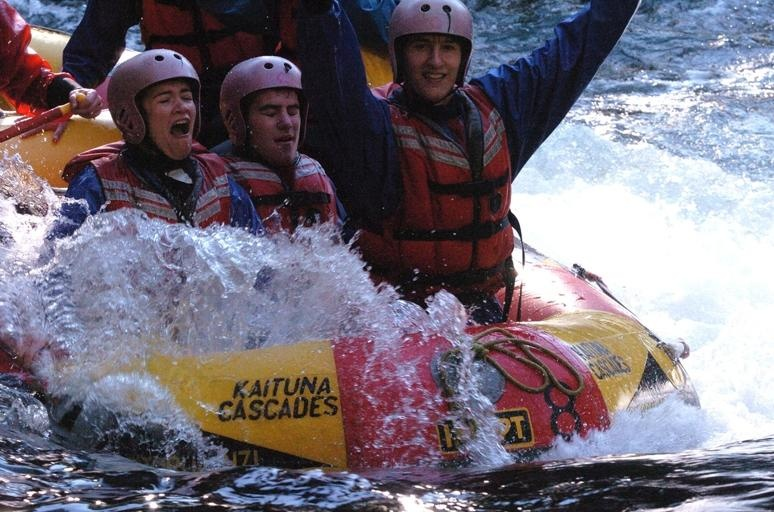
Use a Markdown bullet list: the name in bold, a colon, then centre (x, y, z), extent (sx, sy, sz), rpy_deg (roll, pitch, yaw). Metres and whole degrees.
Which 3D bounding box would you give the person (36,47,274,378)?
- **person**: centre (-1.319, -0.528, 5.863), extent (1.443, 1.190, 0.722), rpy_deg (-3, 1, -42)

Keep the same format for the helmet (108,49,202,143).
- **helmet**: centre (-1.372, -0.883, 5.804), extent (0.573, 0.445, 0.456), rpy_deg (-15, -6, 31)

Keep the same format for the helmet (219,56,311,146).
- **helmet**: centre (-0.770, -0.934, 6.117), extent (0.472, 0.445, 0.534), rpy_deg (-4, 1, -36)

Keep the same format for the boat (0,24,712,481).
- **boat**: centre (0.368, 0.170, 5.049), extent (3.109, 0.601, 2.156), rpy_deg (6, 23, -13)

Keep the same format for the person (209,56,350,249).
- **person**: centre (-0.619, -0.580, 5.922), extent (0.623, 1.042, 1.151), rpy_deg (2, 11, 43)
